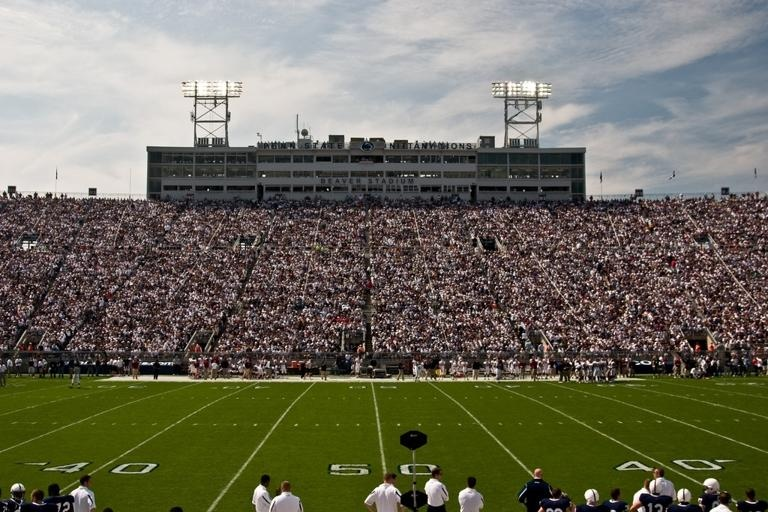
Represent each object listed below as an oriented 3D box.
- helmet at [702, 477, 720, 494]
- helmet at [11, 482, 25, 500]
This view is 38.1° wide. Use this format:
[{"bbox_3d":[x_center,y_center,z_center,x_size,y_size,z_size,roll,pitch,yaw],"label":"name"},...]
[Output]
[{"bbox_3d":[13.133,9.204,44.595,0.496,0.518,0.550,-2,0,23],"label":"helmet"},{"bbox_3d":[-14.493,9.294,44.027,0.442,0.597,0.436,-2,0,-31],"label":"helmet"}]
